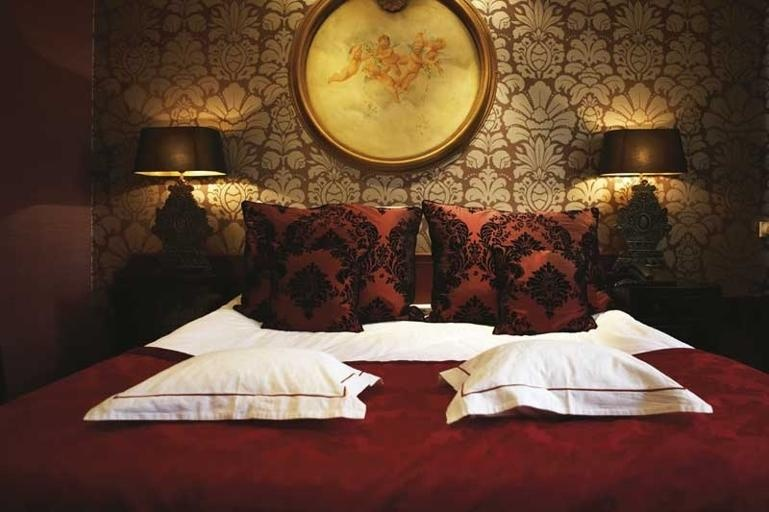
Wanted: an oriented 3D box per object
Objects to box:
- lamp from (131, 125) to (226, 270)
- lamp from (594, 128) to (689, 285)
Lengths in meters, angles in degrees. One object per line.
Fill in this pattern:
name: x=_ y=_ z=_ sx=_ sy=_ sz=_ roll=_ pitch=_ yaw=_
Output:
lamp: x=-0.962 y=-0.292 z=3.045 sx=0.462 sy=0.679 sz=0.279 roll=1 pitch=4 yaw=-33
lamp: x=1.324 y=-0.271 z=3.253 sx=0.405 sy=0.686 sz=0.393 roll=-1 pitch=-1 yaw=25
